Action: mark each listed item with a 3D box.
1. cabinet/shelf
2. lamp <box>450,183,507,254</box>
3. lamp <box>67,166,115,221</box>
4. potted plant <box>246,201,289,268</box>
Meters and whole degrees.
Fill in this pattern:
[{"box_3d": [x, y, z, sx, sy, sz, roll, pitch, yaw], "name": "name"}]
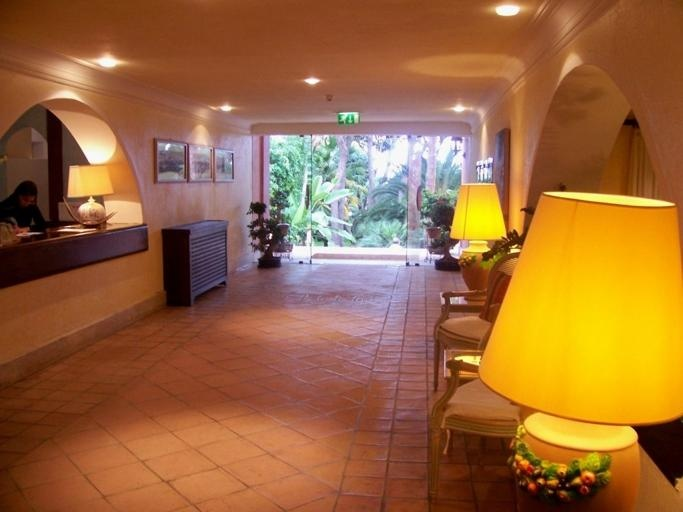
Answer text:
[{"box_3d": [-2.469, 0.064, 8.310, 0.458, 1.183, 2.031, 1, 7, 3], "name": "cabinet/shelf"}, {"box_3d": [1.460, -0.385, 5.170, 0.573, 0.789, 0.590, -1, 12, 6], "name": "lamp"}, {"box_3d": [-3.315, -0.789, 6.298, 0.516, 0.786, 0.732, -5, 10, -29], "name": "lamp"}, {"box_3d": [-1.754, -0.520, 11.351, 0.914, 1.491, 1.265, -1, 9, -9], "name": "potted plant"}]
